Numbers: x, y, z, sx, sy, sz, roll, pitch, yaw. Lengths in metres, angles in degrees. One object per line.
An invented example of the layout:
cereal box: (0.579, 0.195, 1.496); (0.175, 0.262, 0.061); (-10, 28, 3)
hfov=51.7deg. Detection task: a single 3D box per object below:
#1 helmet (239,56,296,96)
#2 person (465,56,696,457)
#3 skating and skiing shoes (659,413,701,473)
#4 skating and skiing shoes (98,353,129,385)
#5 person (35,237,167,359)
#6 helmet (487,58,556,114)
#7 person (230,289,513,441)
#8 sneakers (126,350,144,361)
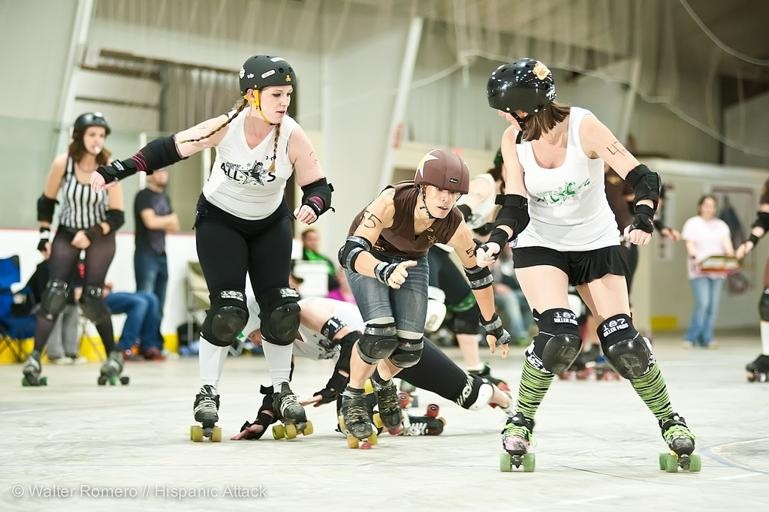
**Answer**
helmet: (-0.757, -1.167, 5.045); (0.292, 0.228, 0.237); (17, 20, 23)
person: (1.077, -0.003, 4.541); (1.093, 2.270, 0.412); (0, -5, 6)
skating and skiing shoes: (1.673, 1.068, 4.554); (0.192, 0.286, 0.404); (-2, -1, 13)
skating and skiing shoes: (-2.491, 1.050, 7.271); (0.211, 0.363, 0.142); (10, -39, -22)
person: (-3.442, 0.613, 9.338); (1.169, 1.504, 1.119); (-13, -20, 30)
helmet: (0.781, -0.974, 4.651); (0.366, 0.305, 0.282); (3, 3, 1)
person: (-0.069, 0.801, 5.602); (1.913, 0.842, 1.036); (9, 39, -3)
sneakers: (-2.990, 1.200, 9.466); (0.176, 0.136, 0.073); (-8, -30, -16)
